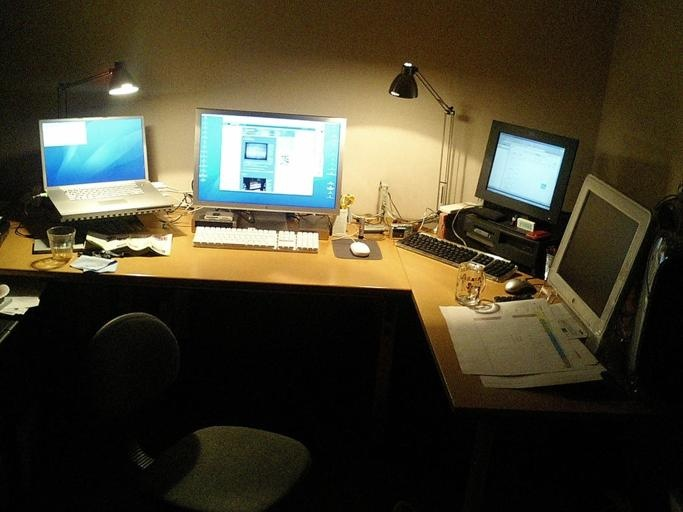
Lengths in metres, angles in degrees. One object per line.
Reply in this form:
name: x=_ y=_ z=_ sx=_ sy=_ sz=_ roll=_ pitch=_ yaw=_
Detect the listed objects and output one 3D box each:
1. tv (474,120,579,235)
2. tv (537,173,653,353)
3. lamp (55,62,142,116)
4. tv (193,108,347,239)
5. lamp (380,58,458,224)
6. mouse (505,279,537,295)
tv: x=0.892 y=-0.381 z=2.554 sx=0.174 sy=0.423 sz=0.491 roll=-2 pitch=23 yaw=-38
tv: x=0.929 y=0.040 z=1.963 sx=0.048 sy=0.617 sz=0.515 roll=11 pitch=19 yaw=-17
lamp: x=-1.235 y=-0.824 z=2.640 sx=0.453 sy=0.295 sz=0.286 roll=1 pitch=16 yaw=-10
tv: x=-0.371 y=-0.416 z=2.667 sx=0.648 sy=0.494 sz=0.082 roll=1 pitch=8 yaw=-4
lamp: x=0.385 y=-0.601 z=2.782 sx=0.255 sy=0.747 sz=0.484 roll=15 pitch=18 yaw=35
mouse: x=0.747 y=0.121 z=2.229 sx=0.111 sy=0.039 sz=0.062 roll=-8 pitch=24 yaw=-34
